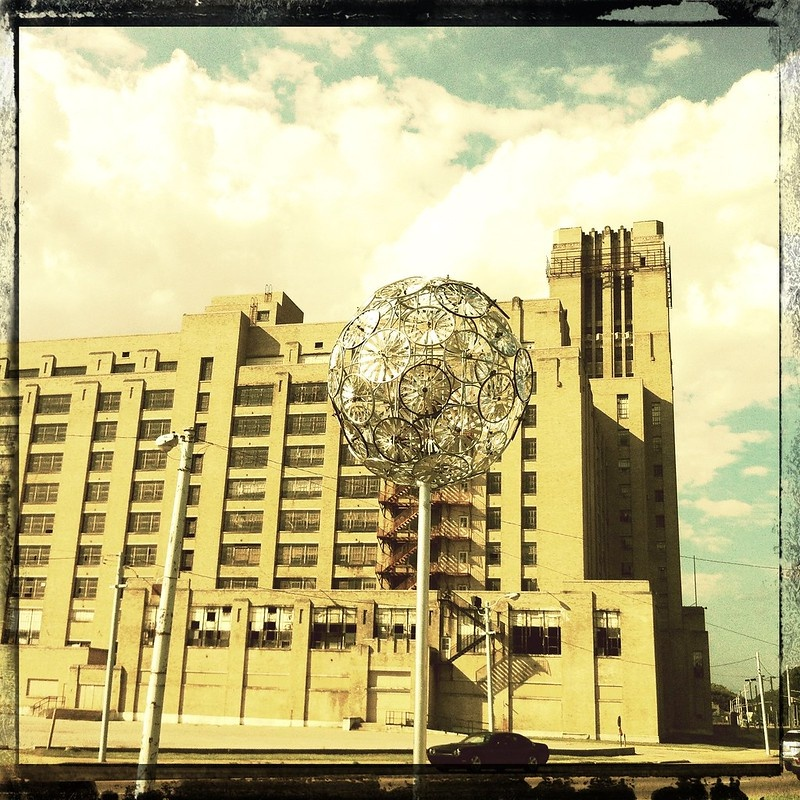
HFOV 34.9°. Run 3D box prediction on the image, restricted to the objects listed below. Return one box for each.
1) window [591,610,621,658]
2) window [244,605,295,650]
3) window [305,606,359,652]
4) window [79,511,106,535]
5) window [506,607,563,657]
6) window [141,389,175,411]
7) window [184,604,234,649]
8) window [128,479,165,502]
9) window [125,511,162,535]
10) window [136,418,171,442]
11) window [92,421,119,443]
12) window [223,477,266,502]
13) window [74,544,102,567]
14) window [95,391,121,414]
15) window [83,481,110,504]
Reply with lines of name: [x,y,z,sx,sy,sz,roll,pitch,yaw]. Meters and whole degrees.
window: [11.321,12.681,68.643,1.401,2.656,0.276,-6,-21,17]
window: [-7.556,13.212,73.709,2.587,2.467,0.289,-5,-21,13]
window: [-3.628,13.251,73.052,3.446,3.442,2.029,0,-17,9]
window: [-20.405,8.259,84.493,1.286,1.303,0.649,-1,-26,1]
window: [7.689,13.133,70.764,3.390,3.344,2.126,0,-14,12]
window: [-16.543,0.065,87.071,1.397,1.072,0.175,-11,-36,7]
window: [-11.152,13.462,74.672,2.339,2.438,0.259,-1,-19,5]
window: [-16.667,6.086,83.953,1.500,1.121,0.166,0,-28,14]
window: [-16.707,8.112,83.040,1.476,1.130,0.167,-6,-34,14]
window: [-15.177,1.883,78.238,1.316,0.997,0.728,-2,-19,9]
window: [-20.191,2.265,87.108,1.240,1.296,0.648,-2,-14,6]
window: [-9.869,6.151,82.924,2.351,1.545,1.363,-2,-22,9]
window: [-20.481,10.297,83.503,1.189,1.181,0.616,-1,-30,4]
window: [-20.176,0.147,88.273,1.414,1.518,1.445,-7,-10,41]
window: [-20.340,6.284,85.252,1.276,1.357,0.487,-4,-27,5]
